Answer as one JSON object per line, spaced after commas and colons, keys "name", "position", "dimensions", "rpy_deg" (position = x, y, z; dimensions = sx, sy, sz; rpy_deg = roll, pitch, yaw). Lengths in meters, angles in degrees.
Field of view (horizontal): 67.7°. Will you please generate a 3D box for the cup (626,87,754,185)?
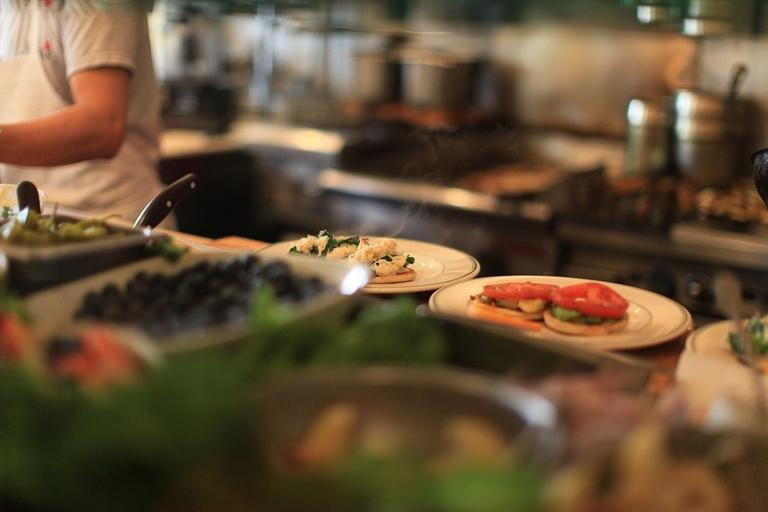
{"name": "cup", "position": [0.771, -0.292, 1.495], "dimensions": [0.296, 0.197, 0.217], "rpy_deg": [1, 1, -35]}
